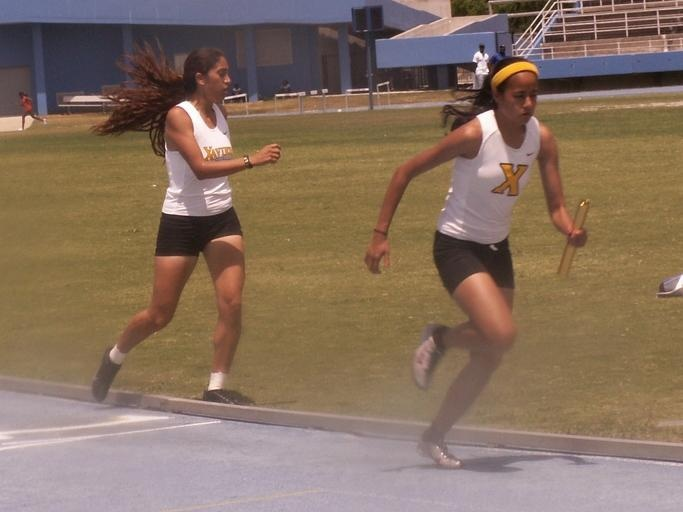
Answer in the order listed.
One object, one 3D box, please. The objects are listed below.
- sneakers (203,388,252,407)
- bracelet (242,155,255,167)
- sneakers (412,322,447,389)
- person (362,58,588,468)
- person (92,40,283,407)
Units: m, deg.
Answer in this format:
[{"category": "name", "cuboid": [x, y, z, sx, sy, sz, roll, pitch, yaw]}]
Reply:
[{"category": "sneakers", "cuboid": [-0.794, 0.984, 7.583, 0.182, 0.061, 0.164, 8, 0, 9]}, {"category": "bracelet", "cuboid": [-0.614, -0.625, 7.302, 0.065, 0.090, 0.087, -29, -12, -7]}, {"category": "sneakers", "cuboid": [0.572, 0.625, 7.066, 0.190, 0.445, 0.192, 20, 29, 2]}, {"category": "person", "cuboid": [0.842, 0.027, 6.600, 0.974, 2.397, 1.072, 6, 16, 33]}, {"category": "person", "cuboid": [-1.161, -0.232, 7.841, 1.291, 2.476, 1.428, -8, 14, -19]}]
